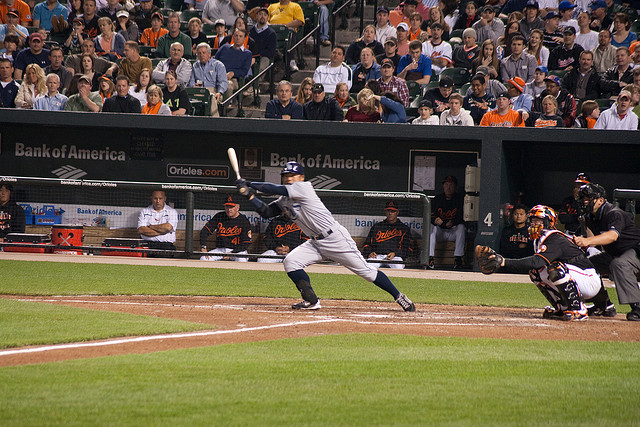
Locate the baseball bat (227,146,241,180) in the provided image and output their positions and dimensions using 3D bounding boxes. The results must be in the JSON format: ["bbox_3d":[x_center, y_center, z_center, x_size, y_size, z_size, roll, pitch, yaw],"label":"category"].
[{"bbox_3d":[-1.647,-0.990,23.262,0.140,0.901,0.139,-12,-23,-2],"label":"baseball bat"}]

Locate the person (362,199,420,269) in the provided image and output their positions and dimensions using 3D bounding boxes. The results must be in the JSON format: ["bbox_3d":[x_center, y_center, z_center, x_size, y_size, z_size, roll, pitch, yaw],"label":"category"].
[{"bbox_3d":[1.458,0.435,24.059,1.367,1.549,0.928,1,-5,12],"label":"person"}]

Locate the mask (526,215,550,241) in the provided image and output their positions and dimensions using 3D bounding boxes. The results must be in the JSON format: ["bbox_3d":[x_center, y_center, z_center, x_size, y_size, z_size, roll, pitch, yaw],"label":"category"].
[{"bbox_3d":[3.553,0.239,19.811,0.412,0.381,0.321,6,-5,-33],"label":"mask"}]

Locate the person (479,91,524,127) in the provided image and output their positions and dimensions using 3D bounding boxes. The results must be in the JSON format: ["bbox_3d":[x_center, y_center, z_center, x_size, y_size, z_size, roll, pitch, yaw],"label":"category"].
[{"bbox_3d":[3.640,-2.054,23.985,1.115,0.725,0.445,2,1,34],"label":"person"}]

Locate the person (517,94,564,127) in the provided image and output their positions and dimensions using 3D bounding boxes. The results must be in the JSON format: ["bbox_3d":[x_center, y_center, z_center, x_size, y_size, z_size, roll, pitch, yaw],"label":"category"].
[{"bbox_3d":[4.346,-2.000,23.851,0.490,0.972,0.395,-12,-17,33],"label":"person"}]

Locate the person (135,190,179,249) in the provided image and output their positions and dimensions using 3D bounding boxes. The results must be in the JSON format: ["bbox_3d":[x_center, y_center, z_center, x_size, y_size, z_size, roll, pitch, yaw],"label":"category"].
[{"bbox_3d":[-3.245,0.119,24.406,0.765,1.143,0.533,-2,15,-12],"label":"person"}]

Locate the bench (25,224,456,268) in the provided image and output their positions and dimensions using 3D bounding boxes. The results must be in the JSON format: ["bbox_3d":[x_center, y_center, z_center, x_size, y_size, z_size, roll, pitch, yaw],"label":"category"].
[{"bbox_3d":[-1.724,0.656,24.603,8.763,0.700,0.872,2,14,4],"label":"bench"}]

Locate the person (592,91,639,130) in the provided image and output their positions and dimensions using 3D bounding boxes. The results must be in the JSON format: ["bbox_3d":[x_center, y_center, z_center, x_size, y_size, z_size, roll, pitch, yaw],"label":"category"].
[{"bbox_3d":[5.756,-1.974,23.629,0.724,0.655,0.389,17,0,13],"label":"person"}]

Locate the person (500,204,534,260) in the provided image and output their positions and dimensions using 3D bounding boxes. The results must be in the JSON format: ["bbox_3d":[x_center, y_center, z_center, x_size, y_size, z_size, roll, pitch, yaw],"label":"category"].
[{"bbox_3d":[3.839,0.393,23.600,0.757,1.164,0.785,2,7,12],"label":"person"}]

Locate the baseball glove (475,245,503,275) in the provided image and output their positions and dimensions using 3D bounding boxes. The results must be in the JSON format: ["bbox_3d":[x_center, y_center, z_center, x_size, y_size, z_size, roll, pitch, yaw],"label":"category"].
[{"bbox_3d":[2.761,0.760,19.524,0.381,0.281,0.165,-39,4,40],"label":"baseball glove"}]
